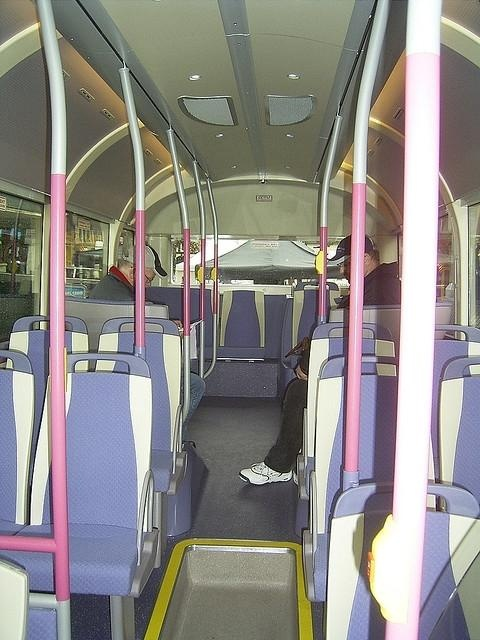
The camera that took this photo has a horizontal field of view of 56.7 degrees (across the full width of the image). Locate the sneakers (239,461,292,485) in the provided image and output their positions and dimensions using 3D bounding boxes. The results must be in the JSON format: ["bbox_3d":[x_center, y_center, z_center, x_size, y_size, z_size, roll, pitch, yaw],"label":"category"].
[{"bbox_3d":[0.214,1.260,3.829,0.431,0.284,0.193,5,-6,-7],"label":"sneakers"}]
